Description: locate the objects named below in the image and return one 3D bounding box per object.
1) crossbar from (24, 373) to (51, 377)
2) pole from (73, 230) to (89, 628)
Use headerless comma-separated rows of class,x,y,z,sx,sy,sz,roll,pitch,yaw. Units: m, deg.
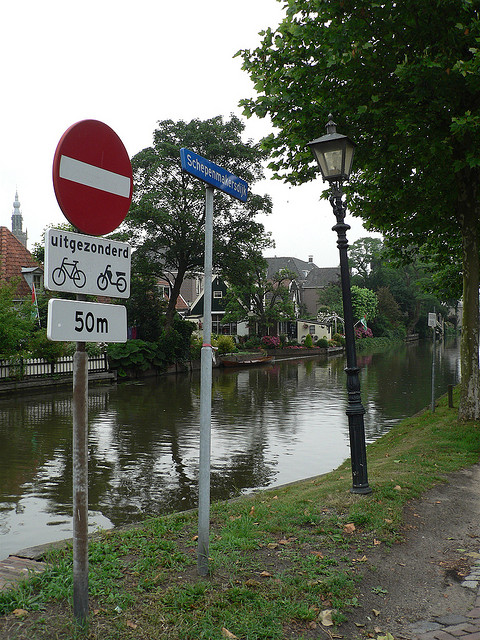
crossbar,-7.551,2.074,25.651,0.044,0.110,1.353,-1,-2,25
pole,-1.036,1.080,4.466,0.084,1.857,0.220,0,-1,-15
